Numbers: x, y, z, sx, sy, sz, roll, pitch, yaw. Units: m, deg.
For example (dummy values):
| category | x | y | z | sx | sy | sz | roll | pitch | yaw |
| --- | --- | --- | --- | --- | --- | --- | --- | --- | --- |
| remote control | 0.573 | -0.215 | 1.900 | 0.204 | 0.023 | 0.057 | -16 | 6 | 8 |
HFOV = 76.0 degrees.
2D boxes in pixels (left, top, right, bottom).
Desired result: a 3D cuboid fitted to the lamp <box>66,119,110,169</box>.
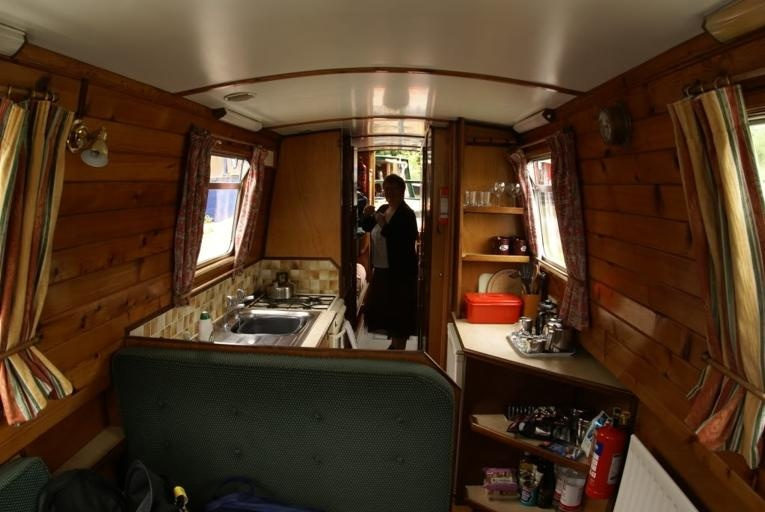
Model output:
| category | x | y | z | sx | sy | sz | roll | pitch | yaw |
| --- | --- | --- | --- | --- | --- | --- | --- | --- | --- |
| lamp | -1.426 | -0.550 | 2.375 | 0.169 | 0.220 | 0.245 | 1 | 4 | -31 |

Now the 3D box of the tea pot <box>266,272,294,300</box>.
| category | x | y | z | sx | sy | sz | roll | pitch | yaw |
| --- | --- | --- | --- | --- | --- | --- | --- | --- | --- |
| tea pot | -0.987 | 0.275 | 4.731 | 0.278 | 0.247 | 0.207 | -3 | 7 | -22 |

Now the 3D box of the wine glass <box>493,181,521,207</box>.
| category | x | y | z | sx | sy | sz | roll | pitch | yaw |
| --- | --- | --- | --- | --- | --- | --- | --- | --- | --- |
| wine glass | 1.061 | -0.543 | 4.210 | 0.241 | 0.210 | 0.118 | 4 | 4 | 11 |

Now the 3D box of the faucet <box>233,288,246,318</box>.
| category | x | y | z | sx | sy | sz | roll | pitch | yaw |
| --- | --- | --- | --- | --- | --- | --- | --- | --- | --- |
| faucet | -1.204 | 0.385 | 4.115 | 0.088 | 0.233 | 0.205 | 2 | 4 | -17 |

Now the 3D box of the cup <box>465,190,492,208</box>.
| category | x | y | z | sx | sy | sz | roll | pitch | yaw |
| --- | --- | --- | --- | --- | --- | --- | --- | --- | --- |
| cup | 0.828 | -0.504 | 4.239 | 0.162 | 0.105 | 0.168 | 1 | 3 | 0 |

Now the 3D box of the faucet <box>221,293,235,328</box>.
| category | x | y | z | sx | sy | sz | roll | pitch | yaw |
| --- | --- | --- | --- | --- | --- | --- | --- | --- | --- |
| faucet | -1.244 | 0.429 | 4.007 | 0.092 | 0.223 | 0.199 | 2 | 4 | -16 |

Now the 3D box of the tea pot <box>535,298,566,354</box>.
| category | x | y | z | sx | sy | sz | roll | pitch | yaw |
| --- | --- | --- | --- | --- | --- | --- | --- | --- | --- |
| tea pot | 1.171 | 0.489 | 3.453 | 0.163 | 0.320 | 0.216 | 3 | 4 | 9 |

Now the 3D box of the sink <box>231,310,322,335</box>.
| category | x | y | z | sx | sy | sz | roll | pitch | yaw |
| --- | --- | --- | --- | --- | --- | --- | --- | --- | --- |
| sink | -0.907 | 0.570 | 4.063 | 0.643 | 0.178 | 0.339 | 3 | 4 | -5 |

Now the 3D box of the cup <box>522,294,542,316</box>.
| category | x | y | z | sx | sy | sz | roll | pitch | yaw |
| --- | --- | --- | --- | --- | --- | --- | --- | --- | --- |
| cup | 1.195 | 0.380 | 3.948 | 0.161 | 0.181 | 0.158 | 2 | -1 | 0 |

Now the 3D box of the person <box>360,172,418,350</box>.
| category | x | y | z | sx | sy | sz | roll | pitch | yaw |
| --- | --- | --- | --- | --- | --- | --- | --- | --- | --- |
| person | 0.118 | 0.081 | 5.980 | 0.634 | 2.089 | 0.624 | 3 | 3 | 3 |
